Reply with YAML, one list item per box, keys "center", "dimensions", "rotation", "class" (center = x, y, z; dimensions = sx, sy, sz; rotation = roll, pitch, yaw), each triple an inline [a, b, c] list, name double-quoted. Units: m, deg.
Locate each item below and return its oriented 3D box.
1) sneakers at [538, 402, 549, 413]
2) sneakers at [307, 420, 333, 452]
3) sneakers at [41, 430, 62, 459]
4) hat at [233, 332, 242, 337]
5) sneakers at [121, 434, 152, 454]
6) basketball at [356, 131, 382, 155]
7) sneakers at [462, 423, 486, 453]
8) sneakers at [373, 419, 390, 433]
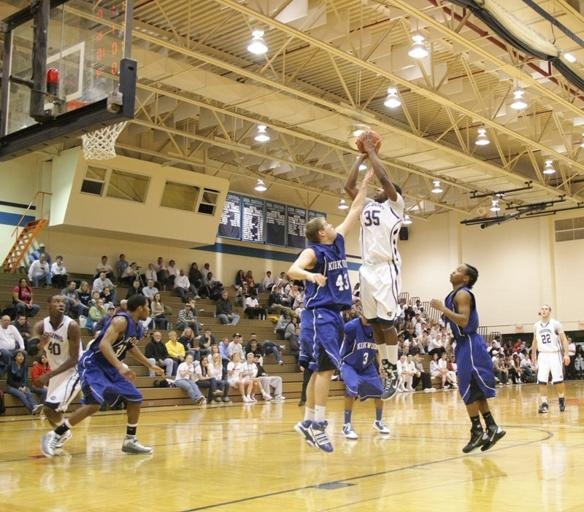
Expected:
- center: [4.366, 2.595, 9.463]
  dimensions: [0.191, 0.225, 0.547]
  rotation: [-7, -18, 19]
  class: "sneakers"
- center: [0.231, 1.447, 4.431]
  dimensions: [0.174, 0.273, 0.263]
  rotation: [0, -10, 2]
  class: "sneakers"
- center: [-2.084, 1.643, 4.796]
  dimensions: [0.125, 0.095, 0.284]
  rotation: [-12, 29, -10]
  class: "sneakers"
- center: [-1.526, 2.172, 15.401]
  dimensions: [0.336, 0.083, 0.322]
  rotation: [1, -13, -2]
  class: "hat"
- center: [-1.333, 1.702, 4.987]
  dimensions: [0.366, 0.163, 0.126]
  rotation: [8, -4, -1]
  class: "sneakers"
- center: [0.754, -1.132, 5.379]
  dimensions: [0.239, 0.219, 0.129]
  rotation: [-1, 2, -19]
  class: "basketball"
- center: [1.572, 1.586, 4.779]
  dimensions: [0.179, 0.260, 0.418]
  rotation: [-6, -12, 32]
  class: "sneakers"
- center: [1.085, 2.025, 6.588]
  dimensions: [0.108, 0.126, 0.311]
  rotation: [3, -9, -21]
  class: "sneakers"
